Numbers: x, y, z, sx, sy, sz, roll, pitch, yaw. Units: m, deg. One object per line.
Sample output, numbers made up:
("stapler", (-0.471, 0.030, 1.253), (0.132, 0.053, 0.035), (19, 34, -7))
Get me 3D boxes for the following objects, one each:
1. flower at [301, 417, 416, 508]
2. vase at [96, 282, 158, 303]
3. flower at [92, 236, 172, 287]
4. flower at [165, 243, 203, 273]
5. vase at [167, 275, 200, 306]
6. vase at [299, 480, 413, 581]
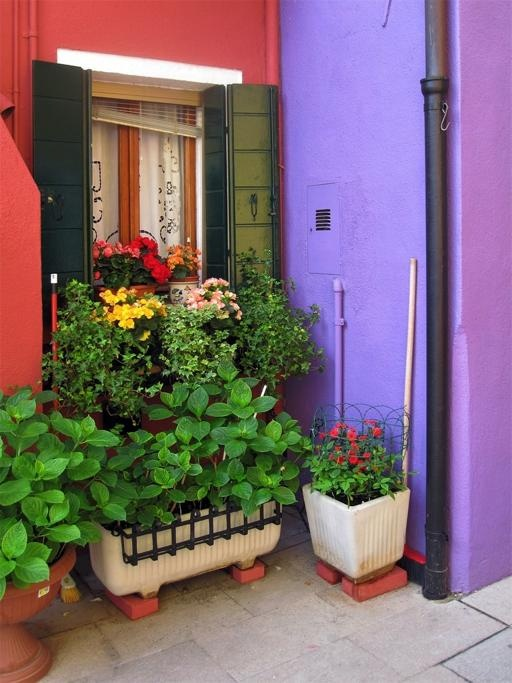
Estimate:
("flower", (0.431, 0.587, 2.836), (0.367, 0.252, 0.359), (4, -5, -25))
("vase", (-0.653, -0.270, 3.263), (0.215, 0.087, 0.140), (-5, 8, -29))
("flower", (-0.692, -0.422, 3.334), (0.347, 0.247, 0.309), (1, 13, -15))
("flower", (-0.418, -0.478, 3.568), (0.188, 0.163, 0.185), (5, 10, -14))
("vase", (-0.421, -0.301, 3.580), (0.160, 0.132, 0.157), (-1, 3, -29))
("vase", (0.438, 0.811, 2.816), (0.427, 0.393, 0.416), (1, -1, -20))
